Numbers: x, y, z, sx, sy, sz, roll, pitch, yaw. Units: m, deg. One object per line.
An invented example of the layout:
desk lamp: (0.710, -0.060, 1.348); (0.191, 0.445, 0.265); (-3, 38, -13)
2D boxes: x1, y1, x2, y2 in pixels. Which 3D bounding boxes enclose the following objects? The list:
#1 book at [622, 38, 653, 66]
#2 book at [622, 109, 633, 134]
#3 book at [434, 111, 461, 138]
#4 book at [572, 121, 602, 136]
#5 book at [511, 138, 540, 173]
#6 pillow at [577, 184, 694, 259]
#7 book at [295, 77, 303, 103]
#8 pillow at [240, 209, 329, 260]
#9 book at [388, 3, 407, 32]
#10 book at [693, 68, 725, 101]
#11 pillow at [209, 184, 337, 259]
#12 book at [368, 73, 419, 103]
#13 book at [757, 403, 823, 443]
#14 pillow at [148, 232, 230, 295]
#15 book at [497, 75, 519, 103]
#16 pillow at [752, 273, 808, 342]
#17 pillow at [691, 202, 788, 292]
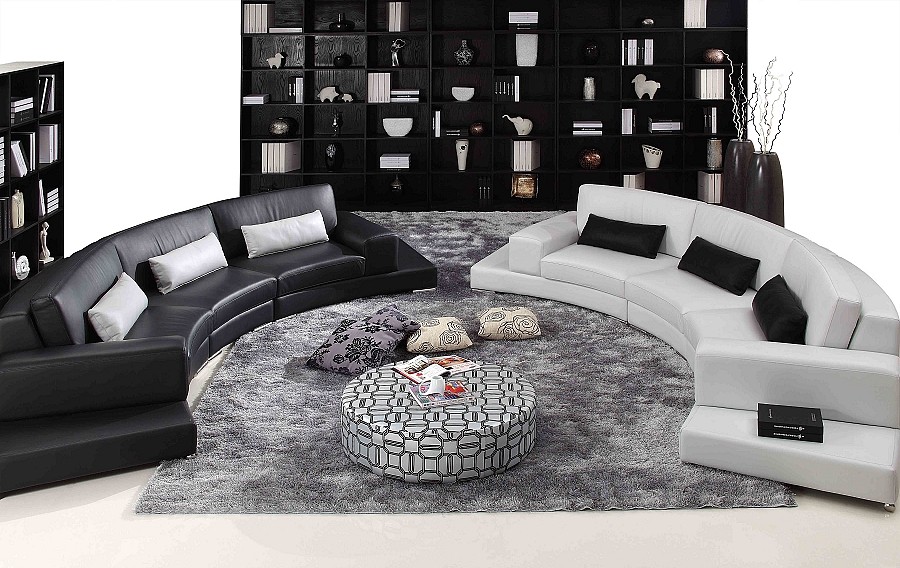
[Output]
book: (2.837, -3.521, 10.180); (0.442, 0.364, 0.049); (0, 11, 1)
book: (2.761, -2.511, 10.386); (0.193, 0.358, 0.172); (3, 22, 3)
book: (-0.050, -2.483, 10.548); (0.445, 0.265, 0.440); (0, 9, -2)
book: (2.157, -2.422, 10.476); (0.445, 0.179, 0.208); (3, 22, 5)
book: (1.209, -2.020, 10.645); (0.445, 0.571, 0.608); (2, 19, 8)
pillow: (2.132, -0.746, 7.414); (1.460, 0.775, 0.311); (10, 1, 40)
book: (-2.314, -3.000, 10.358); (0.135, 0.367, 0.178); (-10, 25, -25)
pillow: (-1.831, -0.543, 7.491); (0.196, 0.345, 1.030); (-18, 2, 42)
book: (-0.785, -4.076, 10.241); (0.294, 0.427, 0.223); (-2, 22, -9)
book: (3.949, -3.031, 10.167); (0.443, 0.429, 0.265); (8, 23, 15)
pillow: (-1.860, -0.779, 7.743); (1.297, 0.620, 0.114); (-3, 5, 21)
book: (-0.893, -3.036, 10.399); (0.764, 0.427, 0.205); (-1, 22, -7)
book: (2.283, 0.935, 4.462); (0.288, 0.075, 0.264); (3, 18, 20)
pillow: (-2.598, -0.185, 6.599); (0.179, 0.210, 0.588); (14, 25, 24)
book: (0.894, -3.033, 10.406); (0.353, 0.368, 0.118); (-1, 22, -6)
pillow: (2.760, 0.200, 5.582); (0.274, 0.259, 1.065); (2, 23, 17)
pillow: (2.815, -0.500, 6.833); (0.661, 0.219, 0.967); (17, 30, 13)
